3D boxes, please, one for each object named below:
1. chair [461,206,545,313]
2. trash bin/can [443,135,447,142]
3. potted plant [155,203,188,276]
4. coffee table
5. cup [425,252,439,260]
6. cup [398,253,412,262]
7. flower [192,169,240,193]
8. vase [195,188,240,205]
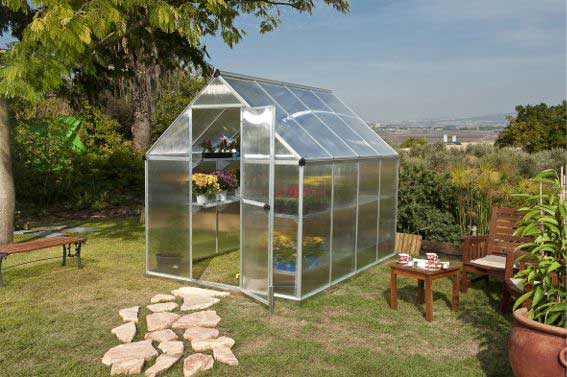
[{"bbox_3d":[4.427,1.400,8.483,1.223,1.581,1.267,-4,5,-17],"label":"chair"},{"bbox_3d":[10.452,-3.315,26.943,0.139,0.327,1.241,5,13,14],"label":"trash bin/can"},{"bbox_3d":[-2.430,1.125,9.136,0.785,1.534,0.273,4,14,13],"label":"potted plant"},{"bbox_3d":[2.710,1.724,8.005,1.159,1.035,1.146,-5,7,-38],"label":"coffee table"},{"bbox_3d":[2.822,1.284,7.905,0.184,0.117,0.270,4,13,14],"label":"cup"},{"bbox_3d":[2.350,1.308,8.039,0.236,0.152,0.288,4,13,14],"label":"cup"},{"bbox_3d":[-1.586,-0.196,9.288,0.593,0.350,0.772,5,8,34],"label":"flower"},{"bbox_3d":[-1.501,0.164,9.552,0.323,0.305,1.302,0,5,22],"label":"vase"}]
